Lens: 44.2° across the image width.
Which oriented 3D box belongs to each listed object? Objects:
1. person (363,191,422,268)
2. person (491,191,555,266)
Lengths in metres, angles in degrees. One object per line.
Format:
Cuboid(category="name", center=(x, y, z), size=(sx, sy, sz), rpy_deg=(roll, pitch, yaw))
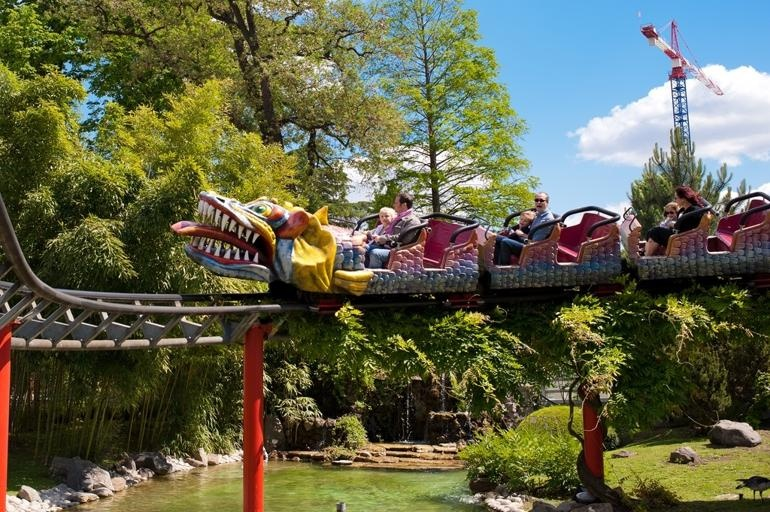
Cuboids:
Cuboid(category="person", center=(0.066, -0.276, 18.907), size=(1.115, 1.927, 0.913), rpy_deg=(1, 13, -27))
Cuboid(category="person", center=(2.809, -0.462, 19.133), size=(1.273, 1.581, 0.947), rpy_deg=(-4, -16, 8))
